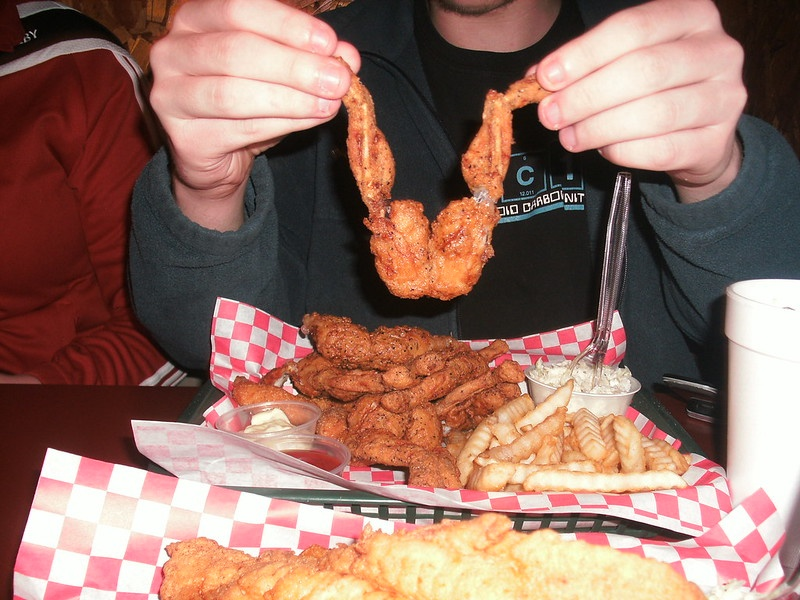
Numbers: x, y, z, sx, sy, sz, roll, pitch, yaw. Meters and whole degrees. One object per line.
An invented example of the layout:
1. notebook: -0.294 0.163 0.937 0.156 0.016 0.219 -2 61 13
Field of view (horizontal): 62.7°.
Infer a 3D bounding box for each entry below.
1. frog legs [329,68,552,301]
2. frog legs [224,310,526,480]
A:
1. frog legs: 0.144 -0.382 2.369 0.647 0.459 0.613 -2 61 2
2. frog legs: -0.091 0.299 2.735 0.817 0.740 0.304 1 99 23
